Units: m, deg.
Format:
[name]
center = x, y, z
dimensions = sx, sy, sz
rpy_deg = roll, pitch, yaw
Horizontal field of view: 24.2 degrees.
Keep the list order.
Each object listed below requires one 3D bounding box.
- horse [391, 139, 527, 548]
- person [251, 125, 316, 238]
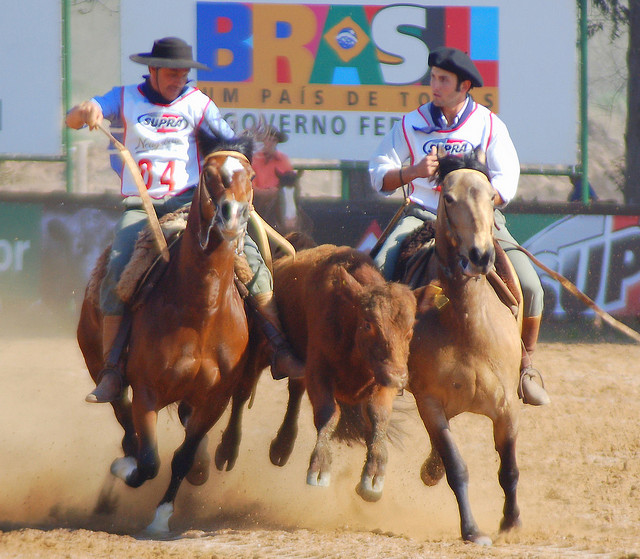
[horse]
center = 1.377, 0.603, 14.083
dimensions = 1.282, 3.591, 0.947
rpy_deg = 10, 14, 38
[person]
center = -0.619, -0.919, 18.660
dimensions = 0.487, 1.084, 1.763
rpy_deg = -5, 33, -9
